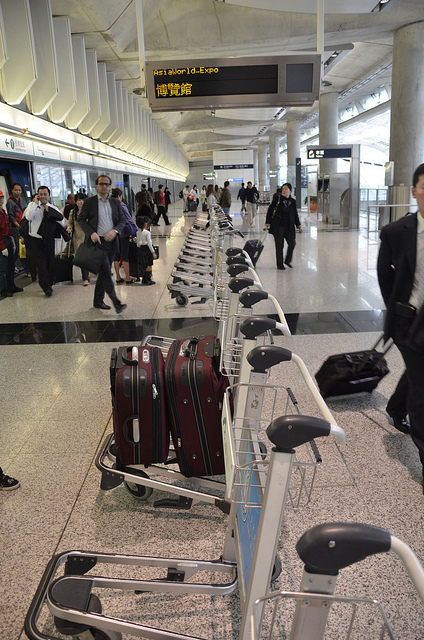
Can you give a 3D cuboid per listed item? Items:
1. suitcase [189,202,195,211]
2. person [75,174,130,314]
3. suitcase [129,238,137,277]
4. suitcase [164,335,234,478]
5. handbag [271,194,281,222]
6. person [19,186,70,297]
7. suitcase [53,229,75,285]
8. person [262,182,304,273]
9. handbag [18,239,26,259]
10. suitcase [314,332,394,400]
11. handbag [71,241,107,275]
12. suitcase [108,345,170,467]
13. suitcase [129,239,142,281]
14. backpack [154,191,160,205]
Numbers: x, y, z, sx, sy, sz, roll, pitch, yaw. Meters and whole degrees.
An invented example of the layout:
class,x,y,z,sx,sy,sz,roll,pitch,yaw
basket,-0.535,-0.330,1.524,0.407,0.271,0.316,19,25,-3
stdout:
class,x,y,z,sx,sy,sz,roll,pitch,yaw
suitcase,-1.773,-9.760,37.051,0.441,0.684,1.313,-5,14,2
person,-1.618,-1.099,6.294,0.716,2.026,0.619,-2,15,-24
suitcase,-1.527,-1.202,8.284,0.156,0.743,0.445,-9,14,-17
suitcase,-0.062,0.470,2.184,0.316,0.658,0.355,-6,13,-1
handbag,1.363,-2.381,9.128,0.102,0.414,0.231,13,7,-20
person,-2.999,-1.403,7.793,0.813,1.885,0.871,-11,14,-23
suitcase,-3.065,-1.300,8.899,0.500,1.095,1.653,-9,14,-16
person,1.470,-1.981,9.207,0.628,1.755,0.959,0,14,22
handbag,-3.933,-1.453,8.906,0.125,0.429,0.296,-6,11,-37
suitcase,1.157,0.423,3.461,0.535,0.775,0.296,4,12,-13
handbag,-1.759,-0.901,6.198,0.471,0.412,0.270,0,14,22
suitcase,-0.361,0.434,2.175,0.279,0.546,0.289,-7,13,-9
suitcase,-1.474,-1.187,8.280,0.208,0.636,0.399,-3,39,-2
backpack,-2.998,-6.638,23.358,0.206,0.654,0.446,6,1,-42
